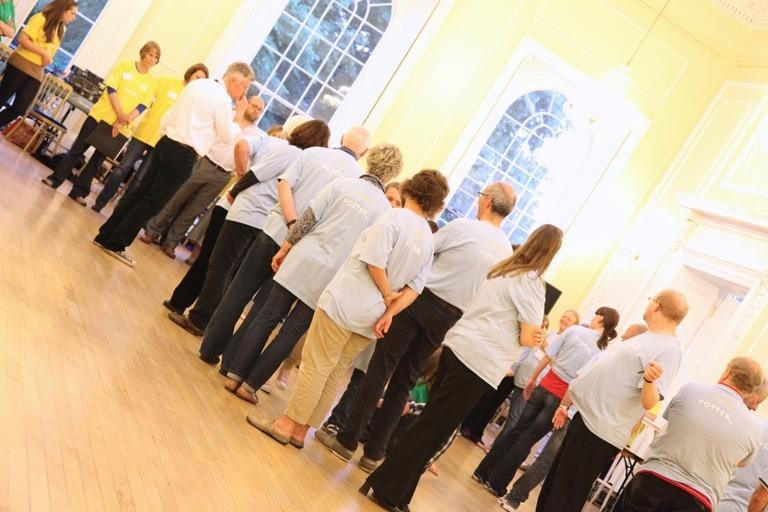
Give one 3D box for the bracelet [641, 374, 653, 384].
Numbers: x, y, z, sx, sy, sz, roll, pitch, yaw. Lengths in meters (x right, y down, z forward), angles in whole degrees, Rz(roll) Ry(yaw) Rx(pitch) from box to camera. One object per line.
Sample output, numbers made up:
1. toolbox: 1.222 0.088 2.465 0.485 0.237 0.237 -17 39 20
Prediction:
1. bracelet: 1.930 0.907 3.802 0.049 0.039 0.050 2 -7 -3
